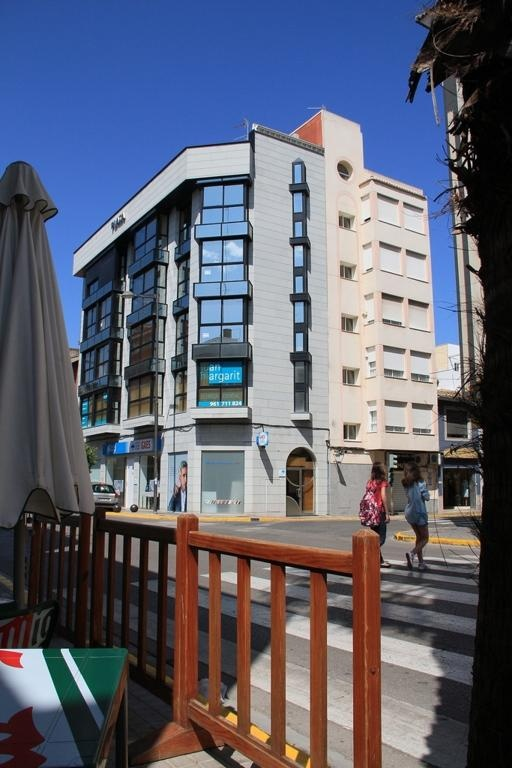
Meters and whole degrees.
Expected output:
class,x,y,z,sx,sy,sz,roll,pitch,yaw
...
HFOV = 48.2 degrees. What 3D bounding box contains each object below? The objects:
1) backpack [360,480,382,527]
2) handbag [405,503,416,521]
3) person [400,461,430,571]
class,x,y,z,sx,sy,sz,roll,pitch,yaw
backpack,1.774,1.867,8.869,0.308,0.699,0.340,-1,-7,6
handbag,2.360,1.993,8.807,0.111,0.294,0.227,-1,-7,4
person,2.642,2.172,9.419,0.383,1.707,1.721,-2,-8,14
